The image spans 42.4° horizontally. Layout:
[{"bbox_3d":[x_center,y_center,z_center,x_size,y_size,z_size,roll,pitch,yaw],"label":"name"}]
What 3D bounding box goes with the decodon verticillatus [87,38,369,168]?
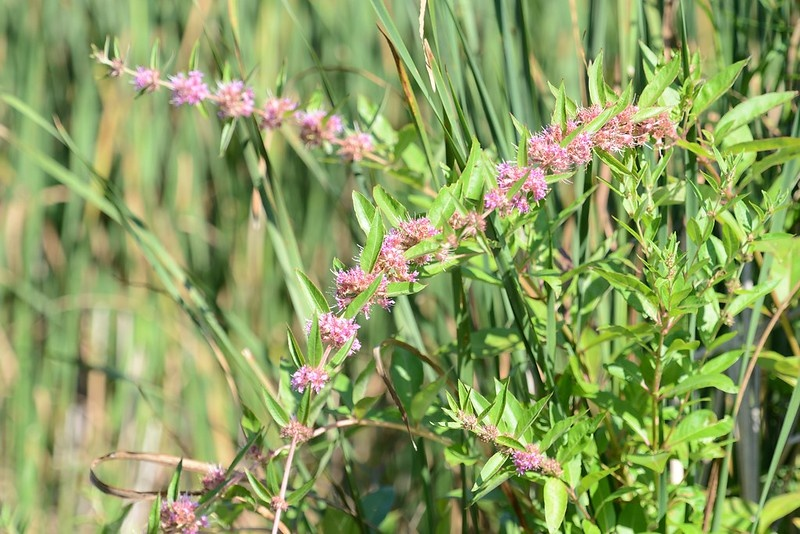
[{"bbox_3d":[-0.440,-0.382,2.450,0.518,0.197,0.157,21,17,-4],"label":"decodon verticillatus"}]
